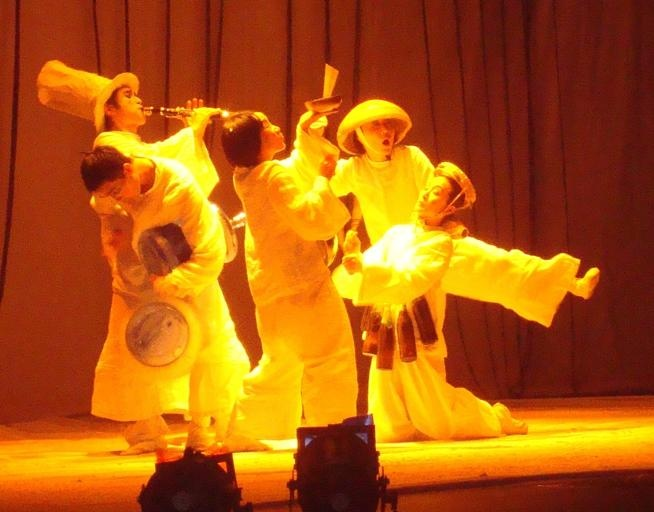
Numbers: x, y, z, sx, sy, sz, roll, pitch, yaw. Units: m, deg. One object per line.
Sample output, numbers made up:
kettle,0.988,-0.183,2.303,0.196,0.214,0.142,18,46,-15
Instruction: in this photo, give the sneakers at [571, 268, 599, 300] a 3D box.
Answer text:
sneakers,1.459,0.133,5.252,0.124,0.094,0.228,0,-30,1

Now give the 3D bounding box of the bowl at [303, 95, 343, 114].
bowl,-0.017,-0.787,4.948,0.175,0.086,0.168,1,-22,0

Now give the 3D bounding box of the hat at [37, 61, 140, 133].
hat,-1.456,-1.011,5.875,0.536,0.437,0.216,12,9,14

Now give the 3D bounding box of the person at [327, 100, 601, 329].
person,0.713,-0.289,5.502,1.773,0.910,0.613,24,29,25

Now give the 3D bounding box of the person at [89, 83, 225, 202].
person,-0.957,-0.624,5.648,0.787,0.613,0.449,-2,-46,10

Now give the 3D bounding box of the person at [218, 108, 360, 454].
person,-0.197,0.147,5.000,0.703,1.650,0.815,0,-21,1
